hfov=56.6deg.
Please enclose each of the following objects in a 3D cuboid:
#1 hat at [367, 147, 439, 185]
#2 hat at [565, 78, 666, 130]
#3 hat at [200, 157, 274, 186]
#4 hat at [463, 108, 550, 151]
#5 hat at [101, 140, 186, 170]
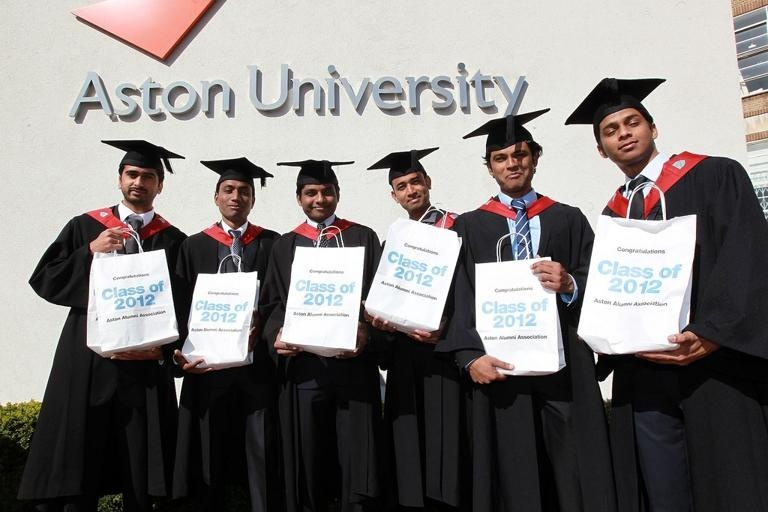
[{"bbox_3d":[0.214,-1.053,8.494,0.519,0.316,0.771,-20,-5,23],"label":"hat"},{"bbox_3d":[2.424,-1.675,7.498,0.722,0.293,0.800,-33,-12,-5],"label":"hat"},{"bbox_3d":[-1.981,-1.110,9.390,0.474,0.214,0.723,-4,-10,19],"label":"hat"},{"bbox_3d":[1.302,-1.354,7.822,0.832,0.364,0.545,-14,-2,-19],"label":"hat"},{"bbox_3d":[-2.845,-1.165,8.352,0.613,0.296,0.941,0,-4,11],"label":"hat"}]
